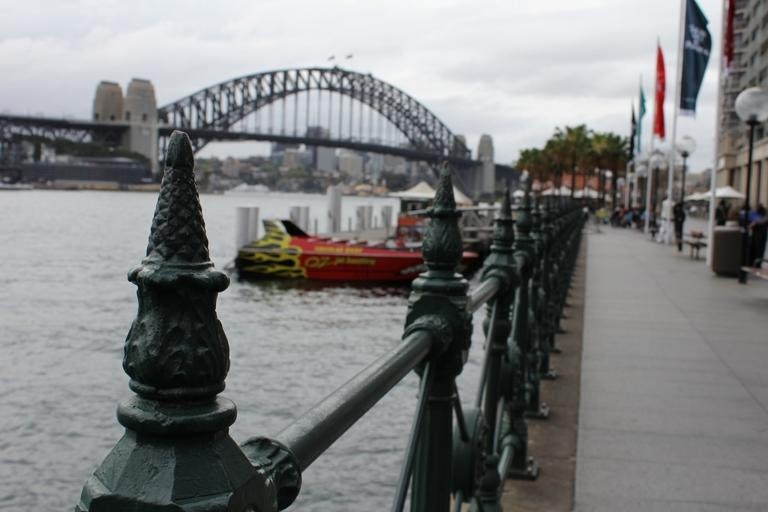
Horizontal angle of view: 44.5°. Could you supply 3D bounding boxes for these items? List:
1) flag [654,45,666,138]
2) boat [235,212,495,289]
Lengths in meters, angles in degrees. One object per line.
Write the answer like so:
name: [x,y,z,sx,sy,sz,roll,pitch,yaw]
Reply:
flag: [10.828,-6.507,36.885,0.398,3.735,1.314,1,9,14]
boat: [-1.005,0.232,37.968,10.845,3.468,3.676,-1,3,10]
